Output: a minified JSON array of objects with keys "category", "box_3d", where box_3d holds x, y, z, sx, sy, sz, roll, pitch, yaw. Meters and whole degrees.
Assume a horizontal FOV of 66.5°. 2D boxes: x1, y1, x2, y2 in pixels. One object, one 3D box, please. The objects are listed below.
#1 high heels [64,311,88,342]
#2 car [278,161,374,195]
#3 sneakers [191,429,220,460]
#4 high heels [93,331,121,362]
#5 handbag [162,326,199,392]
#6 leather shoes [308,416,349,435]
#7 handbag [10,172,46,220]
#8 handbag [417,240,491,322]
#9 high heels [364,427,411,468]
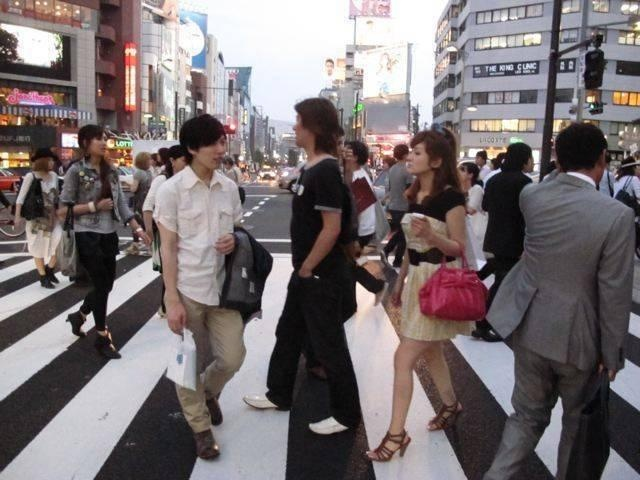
[{"category":"high heels","box_3d":[-2.790,0.986,5.515,0.181,0.308,0.102,-10,14,5]},{"category":"car","box_3d":[-0.714,-3.497,25.971,2.982,1.719,1.893,-1,0,-4]},{"category":"sneakers","box_3d":[-0.819,1.474,3.494,0.095,0.122,0.277,-3,-11,-23]},{"category":"high heels","box_3d":[-2.261,1.118,5.101,0.307,0.241,0.126,22,15,11]},{"category":"handbag","box_3d":[-0.972,0.843,3.410,0.201,0.445,0.214,-2,10,-17]},{"category":"leather shoes","box_3d":[0.065,1.431,3.829,0.319,0.143,0.127,3,-3,-5]},{"category":"handbag","box_3d":[-4.475,-0.681,7.467,0.479,1.057,0.666,-2,7,-32]},{"category":"handbag","box_3d":[0.929,0.367,3.356,0.464,0.328,0.231,3,10,11]},{"category":"high heels","box_3d":[0.491,1.478,3.485,0.347,0.224,0.172,0,-2,-16]}]
